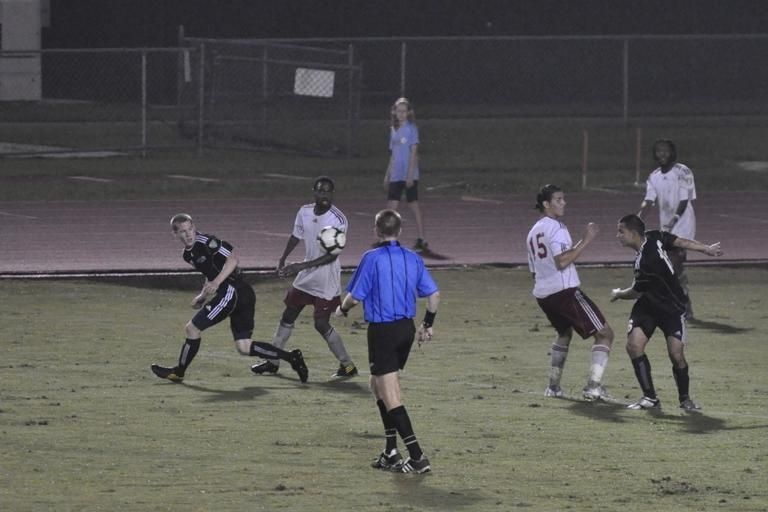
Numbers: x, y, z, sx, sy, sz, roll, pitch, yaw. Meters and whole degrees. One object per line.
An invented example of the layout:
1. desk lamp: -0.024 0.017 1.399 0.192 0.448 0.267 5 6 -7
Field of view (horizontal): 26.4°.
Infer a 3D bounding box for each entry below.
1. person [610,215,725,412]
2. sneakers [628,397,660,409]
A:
1. person: 5.070 1.031 30.687 1.622 3.576 1.185 1 5 6
2. sneakers: 4.814 2.743 30.396 0.668 0.203 0.214 0 -1 -1
